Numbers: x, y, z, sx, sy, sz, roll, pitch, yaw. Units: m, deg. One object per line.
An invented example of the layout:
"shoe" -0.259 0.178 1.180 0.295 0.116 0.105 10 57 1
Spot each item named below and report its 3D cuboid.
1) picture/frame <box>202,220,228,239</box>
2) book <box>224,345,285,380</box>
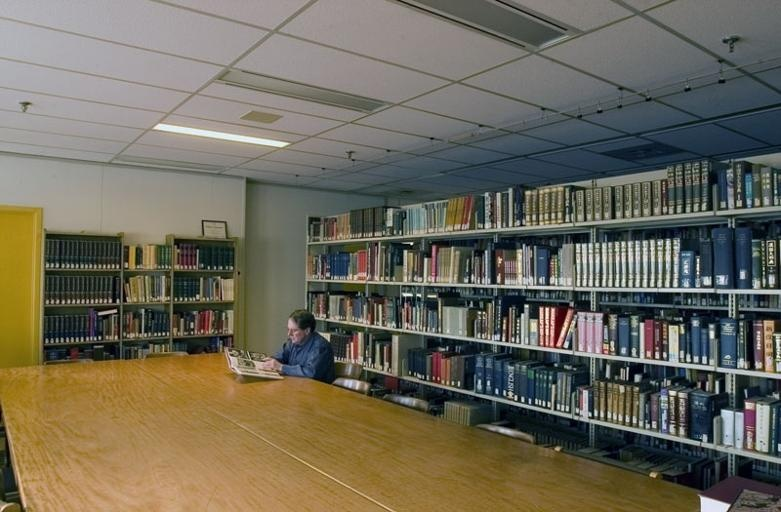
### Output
"picture/frame" -2.605 -0.396 8.638 0.025 0.259 0.352 -23 -14 41
"book" -1.286 1.005 5.455 0.345 0.093 0.378 7 6 -37
